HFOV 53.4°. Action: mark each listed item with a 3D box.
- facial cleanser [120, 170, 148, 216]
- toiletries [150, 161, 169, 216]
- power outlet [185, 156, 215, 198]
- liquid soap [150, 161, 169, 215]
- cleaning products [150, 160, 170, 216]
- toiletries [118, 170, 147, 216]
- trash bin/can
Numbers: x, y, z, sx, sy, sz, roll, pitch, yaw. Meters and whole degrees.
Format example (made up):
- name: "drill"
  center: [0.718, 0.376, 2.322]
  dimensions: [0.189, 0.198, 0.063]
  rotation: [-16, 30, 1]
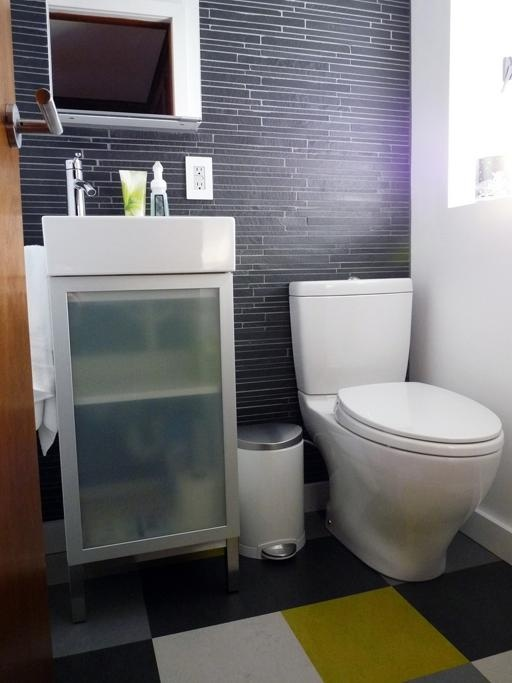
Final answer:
- name: "facial cleanser"
  center: [-0.331, -0.401, 1.396]
  dimensions: [0.063, 0.122, 0.089]
  rotation: [-2, 5, -10]
- name: "toiletries"
  center: [-0.255, -0.399, 1.346]
  dimensions: [0.041, 0.134, 0.069]
  rotation: [-3, 5, -14]
- name: "power outlet"
  center: [-0.164, -0.477, 1.482]
  dimensions: [0.097, 0.176, 0.014]
  rotation: [-2, 4, -24]
- name: "liquid soap"
  center: [-0.255, -0.399, 1.346]
  dimensions: [0.041, 0.134, 0.069]
  rotation: [-3, 5, -14]
- name: "cleaning products"
  center: [-0.254, -0.391, 1.347]
  dimensions: [0.047, 0.159, 0.049]
  rotation: [-5, -1, -32]
- name: "toiletries"
  center: [-0.331, -0.401, 1.396]
  dimensions: [0.063, 0.122, 0.089]
  rotation: [-2, 5, -10]
- name: "trash bin/can"
  center: [0.046, 0.455, 1.474]
  dimensions: [0.243, 0.352, 0.213]
  rotation: [8, -5, -30]
